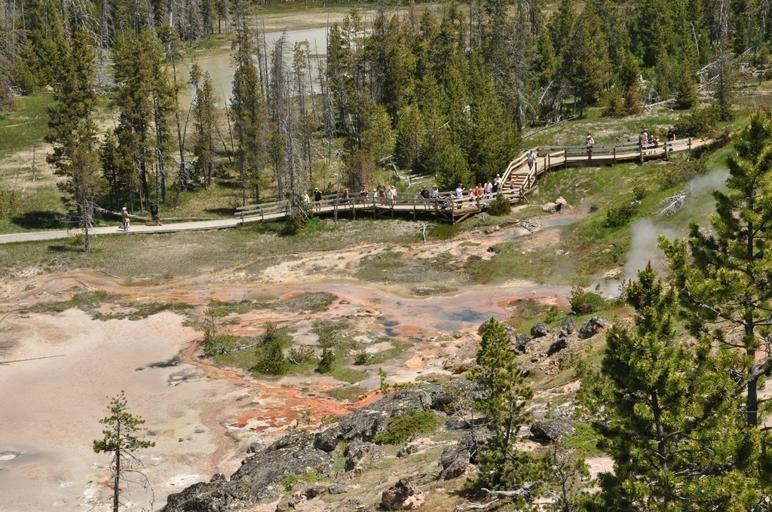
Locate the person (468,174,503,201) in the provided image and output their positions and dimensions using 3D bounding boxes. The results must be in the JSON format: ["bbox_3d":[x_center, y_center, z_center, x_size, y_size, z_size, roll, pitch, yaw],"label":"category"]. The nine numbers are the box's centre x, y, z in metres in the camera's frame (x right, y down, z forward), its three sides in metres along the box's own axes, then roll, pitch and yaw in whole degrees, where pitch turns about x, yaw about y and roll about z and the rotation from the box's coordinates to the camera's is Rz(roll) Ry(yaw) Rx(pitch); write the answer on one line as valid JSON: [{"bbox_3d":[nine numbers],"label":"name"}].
[{"bbox_3d":[10.999,-7.524,152.709,3.048,1.046,0.910,-17,40,-8],"label":"person"}]
